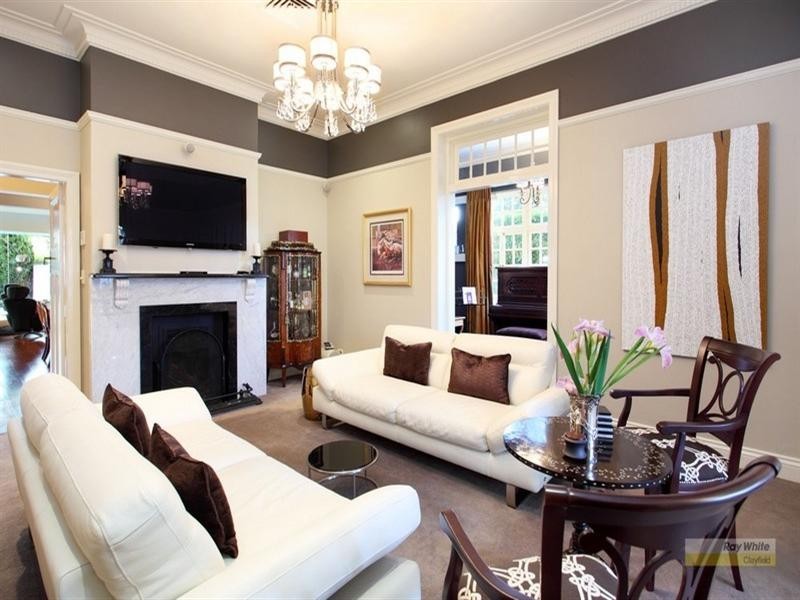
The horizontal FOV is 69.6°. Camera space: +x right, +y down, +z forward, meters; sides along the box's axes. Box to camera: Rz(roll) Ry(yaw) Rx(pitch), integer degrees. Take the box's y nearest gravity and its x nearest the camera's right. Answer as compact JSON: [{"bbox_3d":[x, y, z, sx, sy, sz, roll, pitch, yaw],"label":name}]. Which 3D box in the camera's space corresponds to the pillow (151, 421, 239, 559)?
[{"bbox_3d":[-1.056,0.994,2.958,0.142,0.324,0.498,-16,33,-34],"label":"pillow"}]

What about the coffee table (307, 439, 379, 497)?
[{"bbox_3d":[-0.393,1.177,4.057,0.387,0.252,0.413,-5,13,-8],"label":"coffee table"}]

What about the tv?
[{"bbox_3d":[-2.145,-0.949,5.508,0.070,0.721,0.975,2,2,45],"label":"tv"}]

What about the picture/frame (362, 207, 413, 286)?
[{"bbox_3d":[-0.126,-0.640,6.639,0.846,1.088,0.073,1,2,45],"label":"picture/frame"}]

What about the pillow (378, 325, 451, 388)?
[{"bbox_3d":[0.201,0.438,5.055,0.631,0.506,0.186,-8,-23,37],"label":"pillow"}]

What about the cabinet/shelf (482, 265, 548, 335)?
[{"bbox_3d":[1.640,0.012,8.021,0.787,1.078,0.506,-7,-14,41],"label":"cabinet/shelf"}]

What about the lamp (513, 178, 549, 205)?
[{"bbox_3d":[1.871,-1.545,8.087,0.335,0.380,0.764,1,3,16],"label":"lamp"}]

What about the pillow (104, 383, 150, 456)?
[{"bbox_3d":[-1.578,0.689,3.307,0.106,0.233,0.301,-2,9,-42],"label":"pillow"}]

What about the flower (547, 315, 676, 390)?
[{"bbox_3d":[1.572,0.377,4.121,0.520,0.387,0.523,14,-10,-40],"label":"flower"}]
